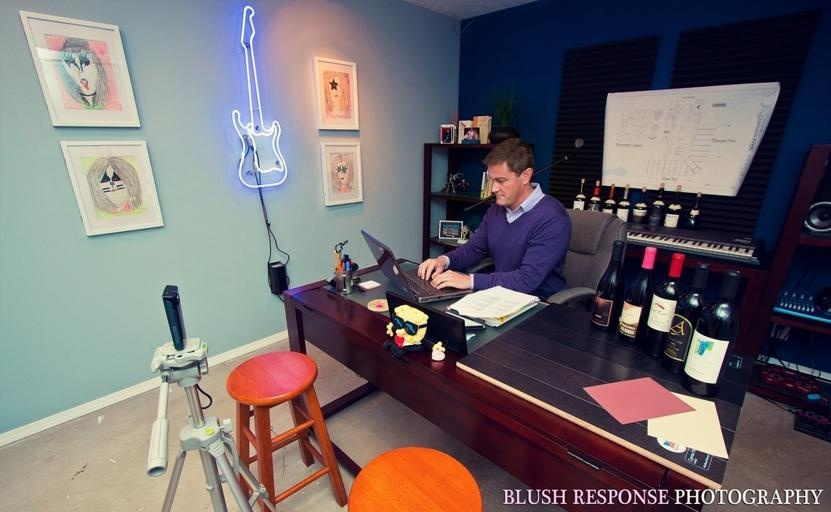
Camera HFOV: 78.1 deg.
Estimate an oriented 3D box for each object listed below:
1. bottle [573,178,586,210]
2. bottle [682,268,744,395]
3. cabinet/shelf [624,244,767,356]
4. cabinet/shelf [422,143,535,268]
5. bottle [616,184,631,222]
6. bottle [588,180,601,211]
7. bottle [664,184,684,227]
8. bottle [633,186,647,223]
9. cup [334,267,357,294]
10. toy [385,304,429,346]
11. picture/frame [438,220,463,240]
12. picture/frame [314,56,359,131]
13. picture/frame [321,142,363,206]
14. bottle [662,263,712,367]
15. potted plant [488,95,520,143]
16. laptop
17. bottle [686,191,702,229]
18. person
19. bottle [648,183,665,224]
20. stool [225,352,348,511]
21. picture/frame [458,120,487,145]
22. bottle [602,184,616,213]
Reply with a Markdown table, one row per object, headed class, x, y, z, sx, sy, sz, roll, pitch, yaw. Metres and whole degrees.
| class | x | y | z | sx | sy | sz | roll | pitch | yaw |
| --- | --- | --- | --- | --- | --- | --- | --- | --- | --- |
| bottle | 1.582 | -0.589 | 4.914 | 0.109 | 0.271 | 0.429 | 6 | 18 | 18 |
| bottle | 1.709 | 0.429 | 2.924 | 0.346 | 0.705 | 0.192 | -17 | 24 | -41 |
| cabinet/shelf | 1.909 | 0.293 | 3.425 | 0.239 | 0.742 | 0.805 | -8 | 18 | -43 |
| cabinet/shelf | 0.569 | -0.492 | 4.740 | 0.958 | 1.740 | 0.574 | 15 | 23 | 42 |
| bottle | 1.947 | -0.492 | 4.777 | 0.111 | 0.318 | 0.281 | 7 | 19 | 22 |
| bottle | 1.719 | -0.580 | 4.902 | 0.112 | 0.261 | 0.279 | 6 | 19 | 19 |
| bottle | 2.327 | -0.450 | 4.620 | 0.121 | 0.366 | 0.192 | 12 | 22 | 33 |
| bottle | 2.090 | -0.475 | 4.756 | 0.122 | 0.303 | 0.198 | 13 | 23 | 36 |
| cup | -0.500 | 0.185 | 3.760 | 0.144 | 0.178 | 0.174 | 5 | 7 | 27 |
| toy | -0.039 | 0.402 | 3.338 | 0.256 | 0.081 | 0.236 | 9 | 23 | -33 |
| picture/frame | 0.394 | -0.288 | 5.670 | 0.218 | 0.156 | 0.029 | 4 | 6 | 23 |
| picture/frame | -0.749 | -1.542 | 4.787 | 0.617 | 0.729 | 0.048 | -16 | 27 | -39 |
| picture/frame | -0.724 | -0.811 | 4.961 | 0.568 | 0.729 | 0.073 | -10 | 16 | -41 |
| bottle | 1.528 | 0.337 | 3.014 | 0.217 | 0.905 | 0.209 | -11 | 37 | 8 |
| potted plant | 0.928 | -1.389 | 5.286 | 0.330 | 0.556 | 0.354 | 12 | 11 | 2 |
| laptop | -0.024 | 0.055 | 3.715 | 0.608 | 0.365 | 0.637 | -2 | 16 | -19 |
| bottle | 2.495 | -0.413 | 4.582 | 0.086 | 0.309 | 0.135 | 10 | 21 | 30 |
| person | 0.663 | -0.190 | 4.076 | 1.269 | 1.363 | 1.107 | -8 | 16 | -11 |
| bottle | 2.207 | -0.469 | 4.664 | 0.116 | 0.367 | 0.235 | 11 | 21 | 31 |
| stool | -0.886 | 1.251 | 3.524 | 0.670 | 1.049 | 0.669 | -10 | 29 | -30 |
| picture/frame | 0.593 | -1.290 | 5.347 | 0.285 | 0.269 | 0.067 | 1 | 0 | 38 |
| bottle | 1.842 | -0.550 | 4.846 | 0.122 | 0.242 | 0.239 | 7 | 19 | 21 |
